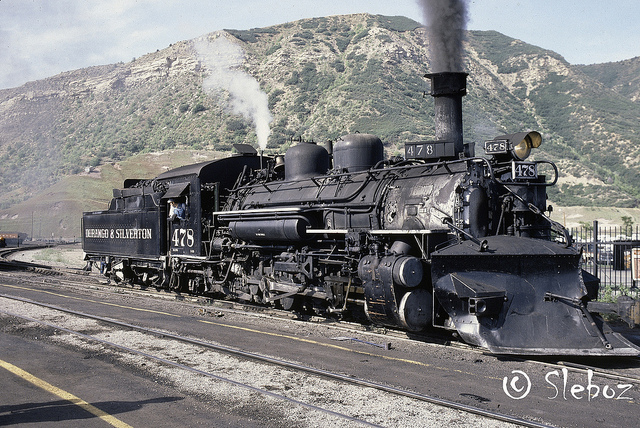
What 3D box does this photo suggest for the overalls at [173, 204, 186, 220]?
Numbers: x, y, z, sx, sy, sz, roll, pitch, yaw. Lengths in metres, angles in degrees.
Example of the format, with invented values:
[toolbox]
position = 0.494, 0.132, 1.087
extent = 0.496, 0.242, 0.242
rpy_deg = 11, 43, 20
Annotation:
[overalls]
position = -5.191, -0.063, 24.160
extent = 0.408, 0.554, 0.205
rpy_deg = 5, 2, 19

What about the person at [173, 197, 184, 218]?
[person]
position = -5.271, -0.285, 24.378
extent = 0.512, 0.711, 0.261
rpy_deg = -8, -4, 42
